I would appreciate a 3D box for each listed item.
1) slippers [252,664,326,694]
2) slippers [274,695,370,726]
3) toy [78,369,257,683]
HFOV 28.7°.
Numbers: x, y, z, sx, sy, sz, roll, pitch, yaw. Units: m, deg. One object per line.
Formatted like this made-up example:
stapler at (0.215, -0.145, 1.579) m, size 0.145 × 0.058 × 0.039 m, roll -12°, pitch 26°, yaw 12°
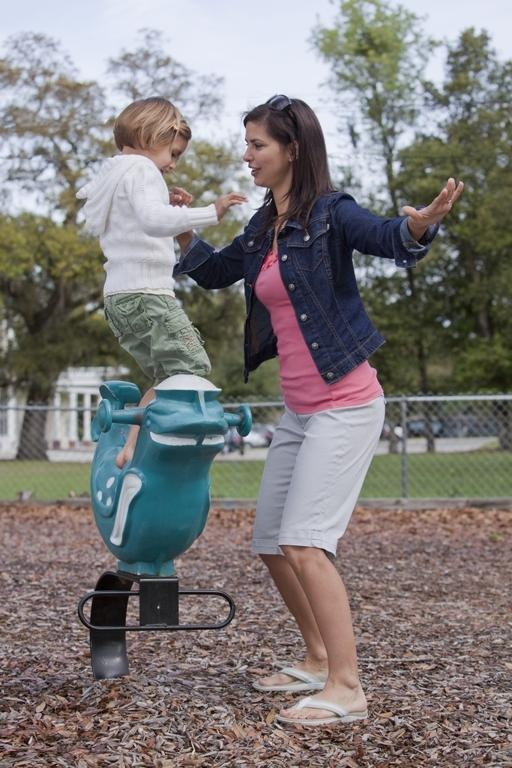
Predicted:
slippers at (0.110, 0.956, 3.234) m, size 0.234 × 0.055 × 0.082 m, roll 0°, pitch -9°, yaw -5°
slippers at (0.201, 0.945, 2.913) m, size 0.218 × 0.052 × 0.095 m, roll 2°, pitch -12°, yaw -4°
toy at (-0.294, 0.468, 3.048) m, size 0.490 × 0.995 × 0.682 m, roll -1°, pitch 1°, yaw -7°
